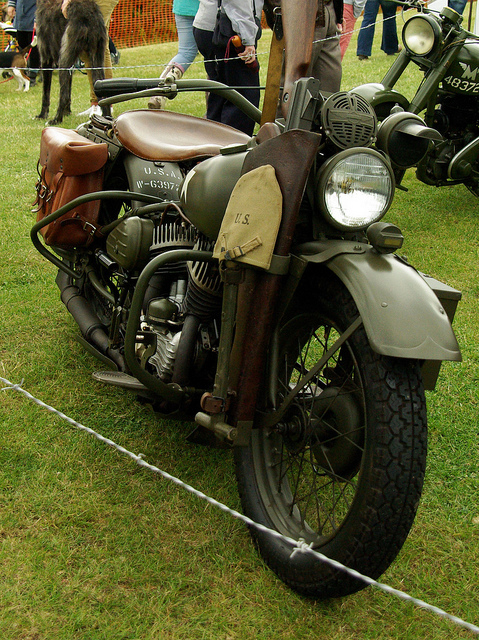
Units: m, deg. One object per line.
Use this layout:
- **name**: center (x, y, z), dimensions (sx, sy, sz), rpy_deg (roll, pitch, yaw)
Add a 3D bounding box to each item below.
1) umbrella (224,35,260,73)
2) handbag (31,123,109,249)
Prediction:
- **umbrella**: center (0.035, -2.016, 4.217), dimensions (0.118, 0.396, 0.108), rpy_deg (-37, 26, -11)
- **handbag**: center (-0.829, -0.649, 2.726), dimensions (0.245, 0.476, 0.552), rpy_deg (1, 21, -31)
